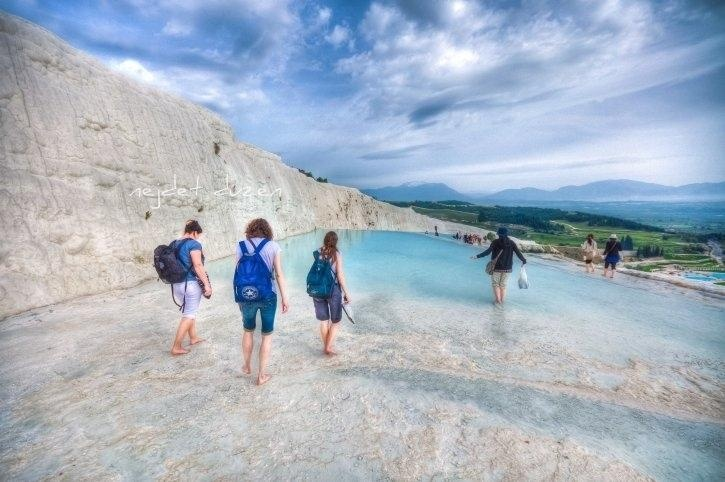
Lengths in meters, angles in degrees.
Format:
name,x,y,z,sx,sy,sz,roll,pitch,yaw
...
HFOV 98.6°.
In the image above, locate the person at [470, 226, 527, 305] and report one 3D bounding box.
name,x,y,z,sx,sy,sz,roll,pitch,yaw
person,4.511,0.809,10.677,0.926,2.671,1.501,4,9,25
